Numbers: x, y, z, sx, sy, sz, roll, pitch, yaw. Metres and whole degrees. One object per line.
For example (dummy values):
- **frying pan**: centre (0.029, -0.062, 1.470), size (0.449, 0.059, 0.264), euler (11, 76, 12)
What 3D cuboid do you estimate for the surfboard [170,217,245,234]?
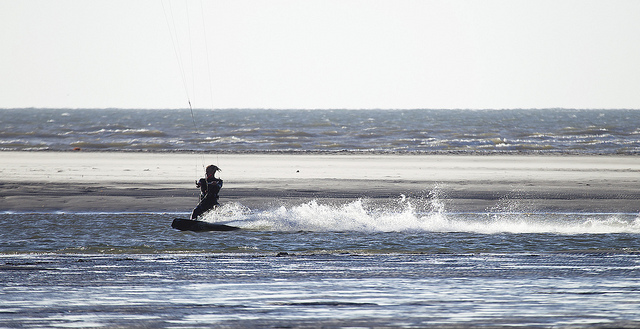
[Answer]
- **surfboard**: centre (-7.111, 3.829, 78.965), size (5.174, 0.469, 0.958), euler (8, -40, -1)
